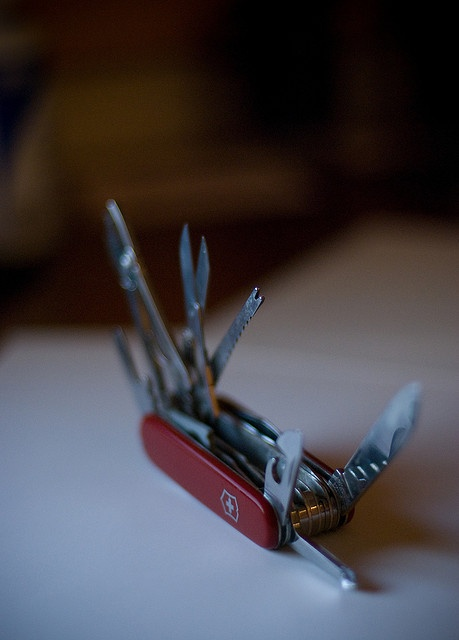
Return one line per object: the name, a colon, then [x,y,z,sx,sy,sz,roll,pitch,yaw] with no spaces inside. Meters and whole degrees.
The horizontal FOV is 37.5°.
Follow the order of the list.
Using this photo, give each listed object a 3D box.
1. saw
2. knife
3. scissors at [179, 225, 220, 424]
saw: [0.006,0.022,0.964,0.038,0.142,0.003,21,19,-25]
knife: [0.166,0.154,0.774,0.077,0.234,0.048,-23,57,-17]
scissors: [-0.062,0.003,0.991,0.073,0.281,0.076,-3,36,-7]
